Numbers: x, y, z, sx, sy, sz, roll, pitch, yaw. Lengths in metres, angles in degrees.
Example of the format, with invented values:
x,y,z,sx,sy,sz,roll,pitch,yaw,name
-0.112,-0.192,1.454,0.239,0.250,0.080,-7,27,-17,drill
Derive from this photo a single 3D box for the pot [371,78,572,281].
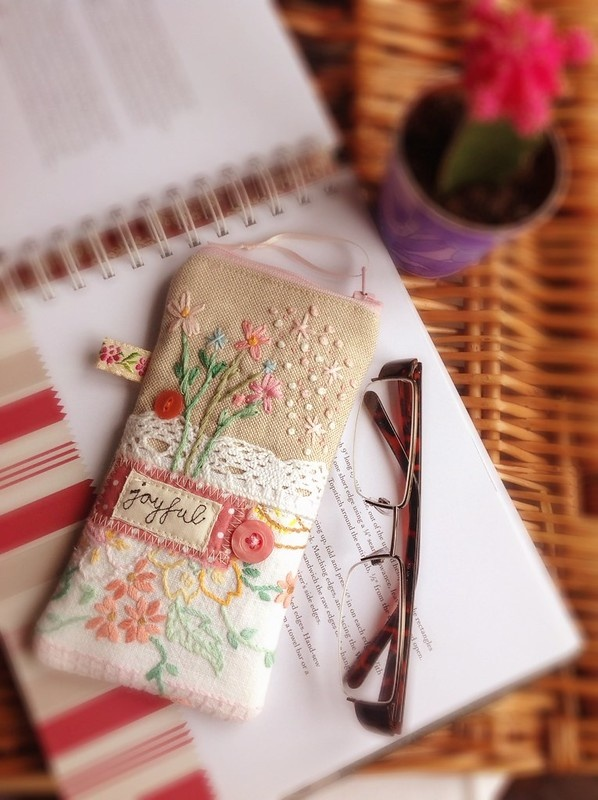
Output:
x,y,z,sx,sy,sz,roll,pitch,yaw,name
0.139,-0.173,0.749,0.149,0.245,0.101,28,76,3,pot
